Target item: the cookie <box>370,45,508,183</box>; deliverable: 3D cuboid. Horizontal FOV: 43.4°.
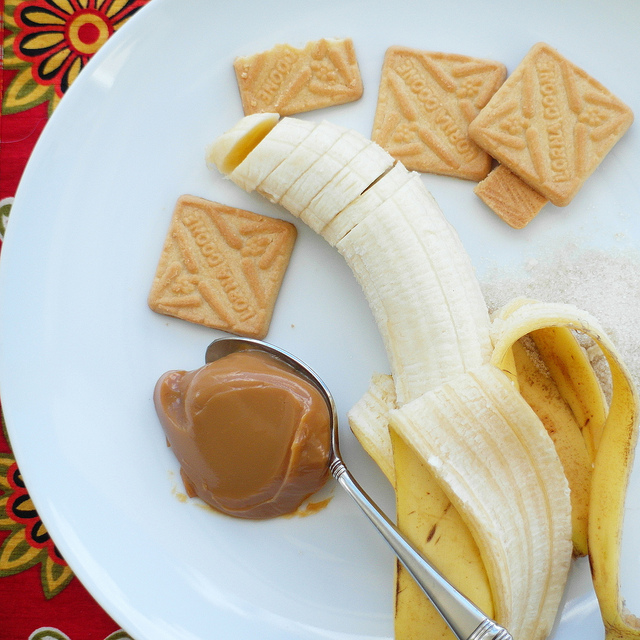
[{"bbox_3d":[0.187,-0.333,1.265,0.180,0.052,0.221,11,93,3],"label":"cookie"}]
